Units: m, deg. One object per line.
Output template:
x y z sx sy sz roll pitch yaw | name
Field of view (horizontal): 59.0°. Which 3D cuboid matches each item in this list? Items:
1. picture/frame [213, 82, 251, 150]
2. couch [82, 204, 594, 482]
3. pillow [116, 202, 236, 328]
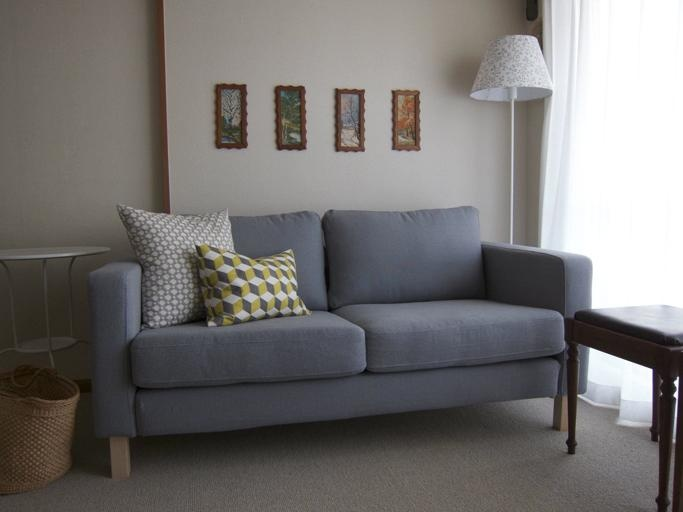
-0.685 -0.874 3.756 0.199 0.454 0.033 0 -12 -10 | picture/frame
0.030 0.367 3.269 2.432 1.117 0.883 -2 11 -9 | couch
-0.822 0.061 3.011 0.575 0.560 0.290 -3 9 -44 | pillow
